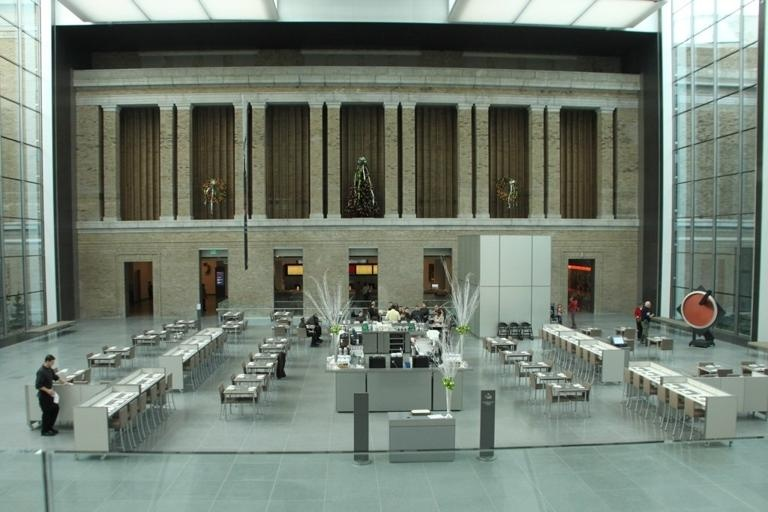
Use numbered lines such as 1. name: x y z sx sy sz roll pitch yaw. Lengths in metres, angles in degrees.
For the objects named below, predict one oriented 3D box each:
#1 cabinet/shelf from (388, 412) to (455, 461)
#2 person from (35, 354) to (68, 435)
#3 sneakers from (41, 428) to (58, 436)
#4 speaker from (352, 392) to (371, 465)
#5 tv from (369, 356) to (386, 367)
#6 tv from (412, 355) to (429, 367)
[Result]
1. cabinet/shelf: 1.376 6.572 27.090 2.398 1.272 2.111 -2 2 -1
2. person: -12.775 5.346 28.728 0.848 2.994 0.725 -4 3 -41
3. sneakers: -12.735 6.740 28.658 0.480 0.164 0.252 -2 6 -1
4. speaker: -0.821 6.139 27.479 0.576 2.196 0.485 -1 -3 3
5. tv: -0.294 4.375 30.753 0.525 0.308 0.518 -1 -2 -4
6. tv: 1.466 4.362 30.788 0.530 0.417 0.510 -1 0 14
